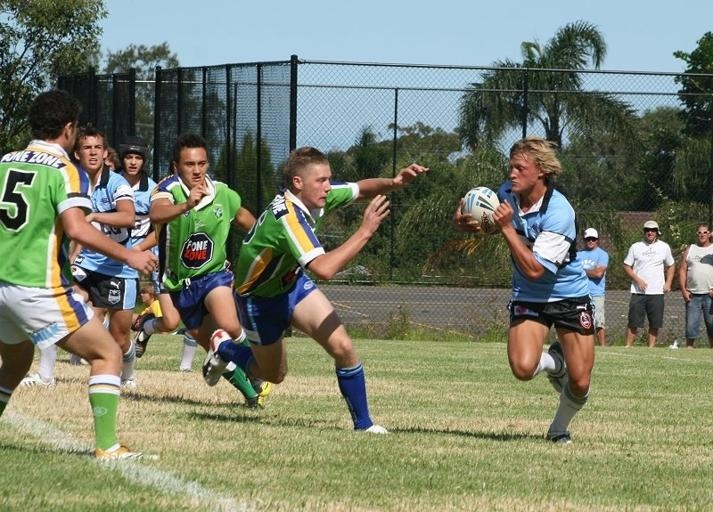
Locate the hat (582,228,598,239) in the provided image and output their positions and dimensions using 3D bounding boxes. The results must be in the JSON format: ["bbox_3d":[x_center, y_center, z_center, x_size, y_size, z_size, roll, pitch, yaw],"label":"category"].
[{"bbox_3d":[4.107,-0.399,15.545,0.205,0.142,0.334,-3,0,10],"label":"hat"}]

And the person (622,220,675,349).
[{"bbox_3d":[5.291,0.504,16.038,0.827,2.255,0.532,0,5,7],"label":"person"}]

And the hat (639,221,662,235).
[{"bbox_3d":[5.341,-0.551,16.065,0.239,0.151,0.365,3,-8,14],"label":"hat"}]
